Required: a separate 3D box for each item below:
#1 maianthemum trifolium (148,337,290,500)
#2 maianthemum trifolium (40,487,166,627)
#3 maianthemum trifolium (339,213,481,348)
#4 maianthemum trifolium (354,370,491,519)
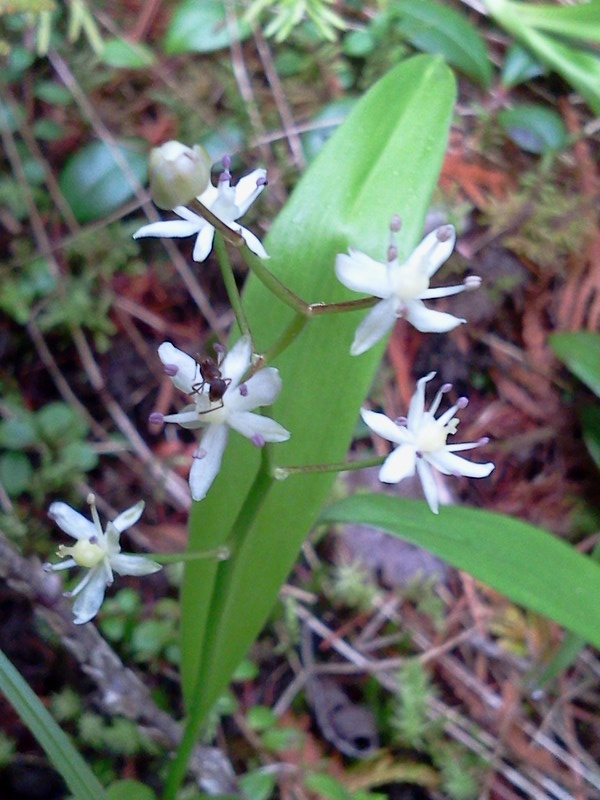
[{"bbox_3d":[-0.147,0.004,1.335,0.264,0.072,0.243,-2,36,-3],"label":"maianthemum trifolium"},{"bbox_3d":[-0.387,0.270,1.369,0.101,0.248,0.199,23,69,-33],"label":"maianthemum trifolium"},{"bbox_3d":[0.190,-0.212,1.307,0.206,0.156,0.081,26,113,24],"label":"maianthemum trifolium"},{"bbox_3d":[0.252,0.070,1.412,0.119,0.279,0.216,-26,78,19],"label":"maianthemum trifolium"}]
